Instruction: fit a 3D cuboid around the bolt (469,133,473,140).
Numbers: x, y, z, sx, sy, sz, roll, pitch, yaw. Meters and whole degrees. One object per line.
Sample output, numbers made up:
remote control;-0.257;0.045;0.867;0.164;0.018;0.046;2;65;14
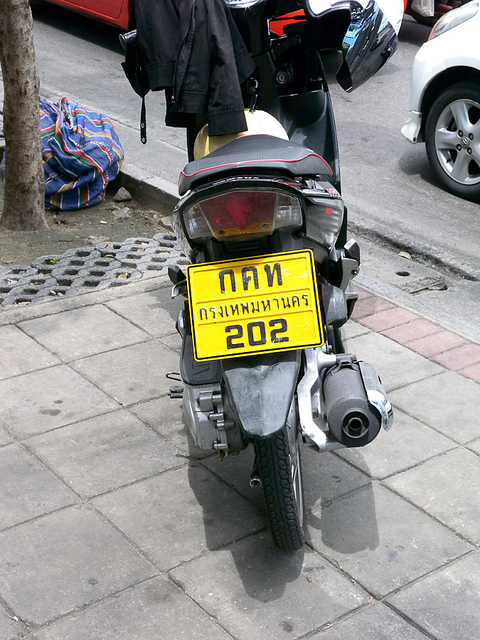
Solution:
bolt;2.126;-1.703;5.930;0.013;0.056;0.051;-3;27;-11

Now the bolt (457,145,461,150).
bolt;2.060;-1.637;6.057;0.003;0.038;0.048;-9;28;-21

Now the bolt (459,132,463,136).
bolt;2.067;-1.751;6.025;0.010;0.030;0.038;-3;27;-12

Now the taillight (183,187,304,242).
taillight;0.005;-0.346;1.986;0.378;0.189;0.121;-6;58;7

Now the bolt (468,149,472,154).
bolt;2.130;-1.576;5.963;0.009;0.032;0.045;-13;30;-27

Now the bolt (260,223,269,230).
bolt;0.077;-0.294;1.998;0.018;0.016;0.006;-6;16;-1

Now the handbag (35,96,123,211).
handbag;-1.469;-1.548;5.828;0.918;0.431;1.092;-5;44;-22
